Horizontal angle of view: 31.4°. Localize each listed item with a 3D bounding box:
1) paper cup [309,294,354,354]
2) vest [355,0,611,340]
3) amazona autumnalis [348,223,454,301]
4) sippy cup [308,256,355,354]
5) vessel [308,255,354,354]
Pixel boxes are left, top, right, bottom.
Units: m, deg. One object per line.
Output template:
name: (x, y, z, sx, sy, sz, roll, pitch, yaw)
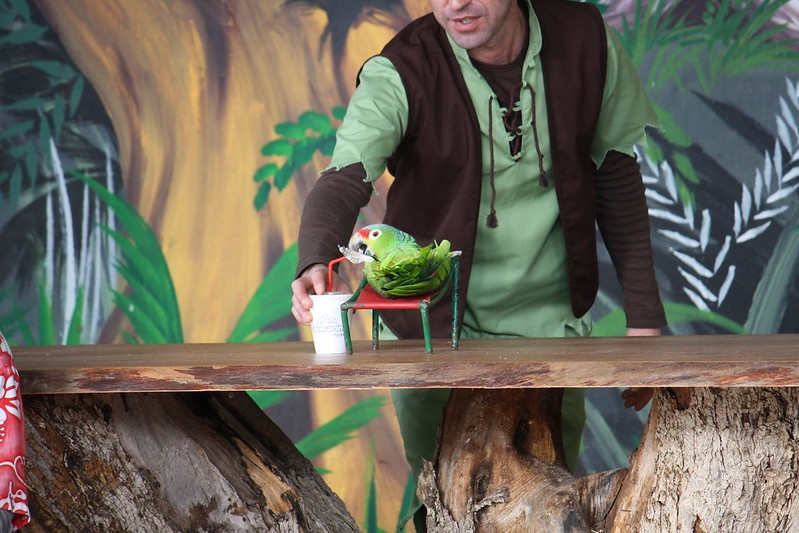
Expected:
paper cup: (-0.255, 0.208, 5.184, 0.190, 0.216, 0.191, -1, -1, 0)
vest: (0.331, -0.376, 5.499, 0.873, 1.263, 0.674, -11, 26, -6)
amazona autumnalis: (0.002, -0.012, 5.185, 0.403, 0.228, 0.259, 6, 6, 9)
sippy cup: (-0.250, 0.124, 5.260, 0.175, 0.371, 0.172, -2, -14, -1)
vessel: (-0.253, 0.132, 5.237, 0.170, 0.364, 0.155, 0, 5, -13)
